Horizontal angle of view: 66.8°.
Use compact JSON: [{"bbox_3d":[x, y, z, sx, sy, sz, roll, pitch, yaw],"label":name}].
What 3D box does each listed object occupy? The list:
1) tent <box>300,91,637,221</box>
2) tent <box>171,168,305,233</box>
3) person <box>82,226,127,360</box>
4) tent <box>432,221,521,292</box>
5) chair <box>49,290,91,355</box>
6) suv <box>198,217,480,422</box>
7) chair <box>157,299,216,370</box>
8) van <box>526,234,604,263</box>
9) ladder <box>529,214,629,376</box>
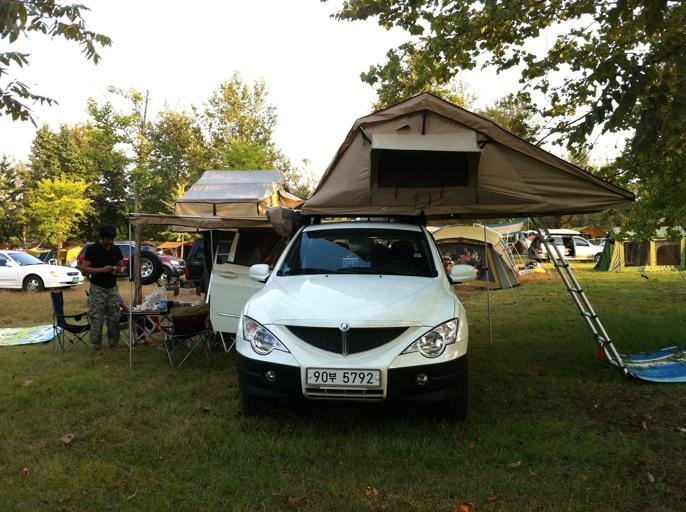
[{"bbox_3d":[1.475,-1.054,6.298,2.481,1.014,3.074,0,-1,7],"label":"tent"},{"bbox_3d":[-2.534,-1.412,11.761,1.979,1.016,2.890,0,2,-2],"label":"tent"},{"bbox_3d":[-3.951,0.594,8.511,0.576,2.176,1.031,0,-2,-25],"label":"person"},{"bbox_3d":[4.697,0.021,17.805,2.757,1.203,3.421,-1,-2,15],"label":"tent"},{"bbox_3d":[-4.672,1.219,9.041,0.761,1.063,0.700,5,-1,-23],"label":"chair"},{"bbox_3d":[0.115,0.755,5.653,2.339,2.086,1.665,-1,-2,0],"label":"suv"},{"bbox_3d":[-2.465,1.284,8.215,0.832,1.012,0.848,-2,6,-12],"label":"chair"},{"bbox_3d":[11.751,-0.265,27.175,4.081,1.454,1.989,-2,3,2],"label":"van"},{"bbox_3d":[6.916,0.959,15.104,0.777,5.047,0.760,-30,0,29],"label":"ladder"}]
